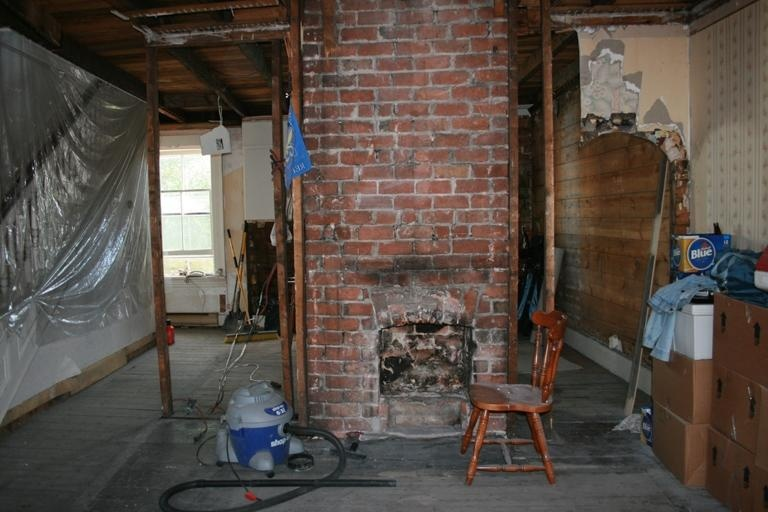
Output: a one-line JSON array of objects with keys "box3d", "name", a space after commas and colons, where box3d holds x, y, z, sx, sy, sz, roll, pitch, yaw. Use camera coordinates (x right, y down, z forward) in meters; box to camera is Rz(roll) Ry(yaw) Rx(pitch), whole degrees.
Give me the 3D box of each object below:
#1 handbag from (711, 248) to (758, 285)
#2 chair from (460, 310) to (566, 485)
[{"box3d": [2.653, 0.090, 4.779, 0.261, 0.098, 0.275, -4, 48, 43], "name": "handbag"}, {"box3d": [1.008, 1.046, 4.984, 0.794, 1.237, 0.827, 1, 15, 8], "name": "chair"}]
